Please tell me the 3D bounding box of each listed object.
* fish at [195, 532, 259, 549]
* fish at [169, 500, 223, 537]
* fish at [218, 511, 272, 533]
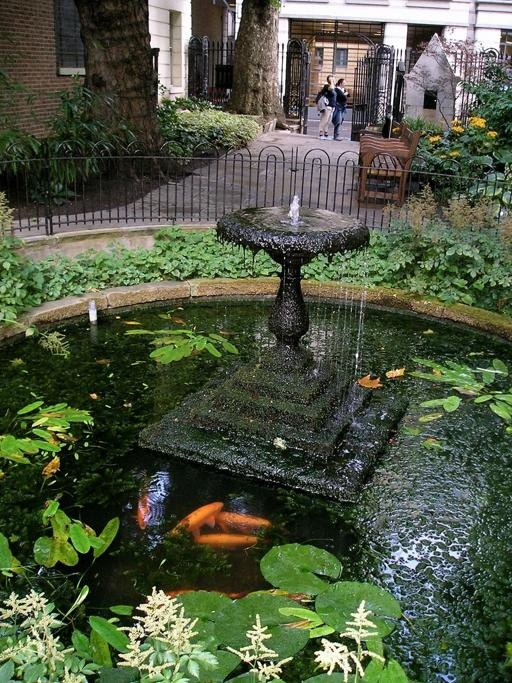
[{"bbox_3d":[-0.161,1.068,2.781,0.337,0.044,0.114,0,13,-1],"label":"fish"},{"bbox_3d":[-0.320,0.997,2.983,0.159,0.081,0.385,8,15,33],"label":"fish"},{"bbox_3d":[-0.080,1.035,2.931,0.315,0.025,0.161,3,13,13],"label":"fish"}]
